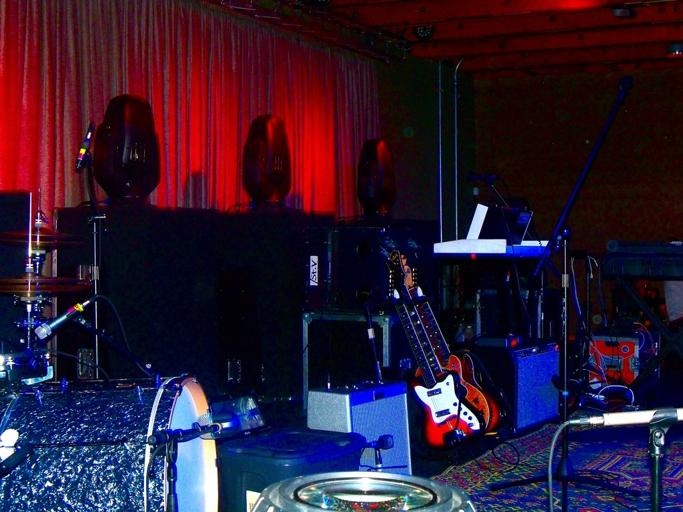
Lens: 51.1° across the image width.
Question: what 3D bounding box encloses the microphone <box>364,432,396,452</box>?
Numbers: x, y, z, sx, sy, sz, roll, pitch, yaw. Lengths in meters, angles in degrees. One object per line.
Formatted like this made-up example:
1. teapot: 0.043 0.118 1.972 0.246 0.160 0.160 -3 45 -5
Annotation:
1. microphone: 0.177 0.831 3.190 0.122 0.055 0.074 -8 -20 32

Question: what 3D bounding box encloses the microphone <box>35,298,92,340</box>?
1. microphone: -1.041 0.235 2.680 0.206 0.154 0.198 -2 1 -24

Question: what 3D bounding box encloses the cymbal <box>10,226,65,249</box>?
1. cymbal: -1.518 -0.088 3.554 0.159 0.072 0.164 1 3 44
